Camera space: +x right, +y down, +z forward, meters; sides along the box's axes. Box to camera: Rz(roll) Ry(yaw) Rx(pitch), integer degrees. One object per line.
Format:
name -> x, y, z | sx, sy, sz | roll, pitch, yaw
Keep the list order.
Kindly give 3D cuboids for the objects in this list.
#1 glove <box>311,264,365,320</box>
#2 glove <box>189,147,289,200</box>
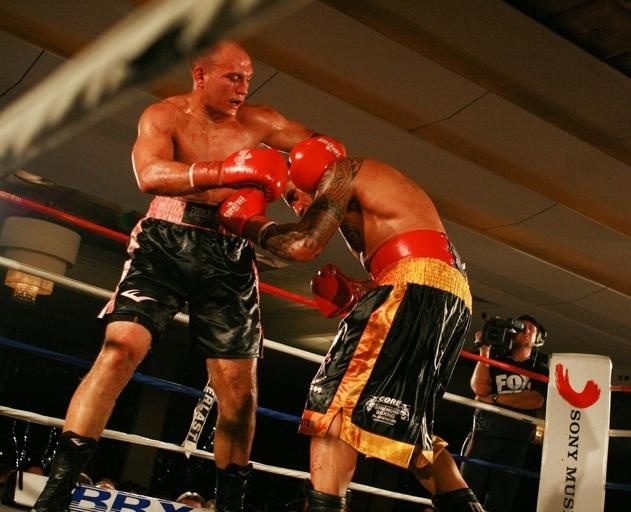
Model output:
glove -> 0.110, 0.121, 2.240 | 0.180, 0.247, 0.109 | 24, -56, 21
glove -> -0.252, -0.290, 1.990 | 0.303, 0.143, 0.082 | -1, -45, 2
